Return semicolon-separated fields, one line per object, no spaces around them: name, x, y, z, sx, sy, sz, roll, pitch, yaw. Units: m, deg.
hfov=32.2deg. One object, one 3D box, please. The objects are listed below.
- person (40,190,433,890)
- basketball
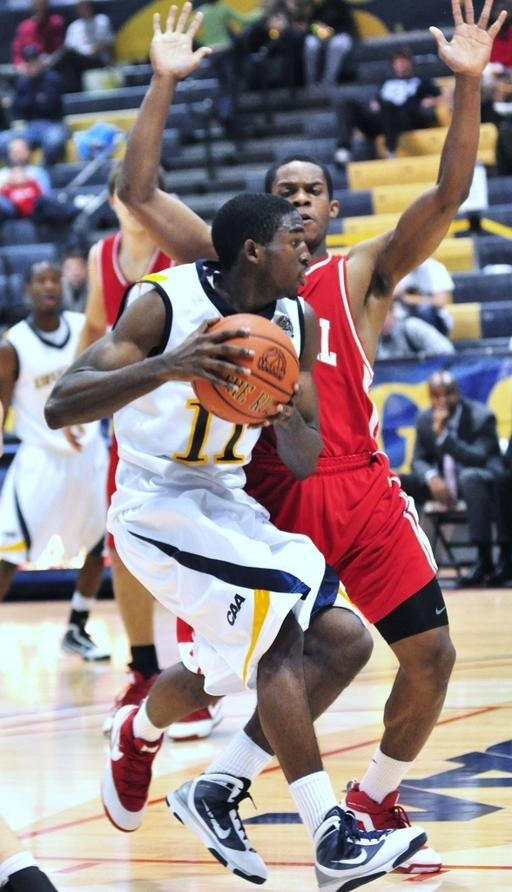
person;-0.111;0.186;1.640;0.566;1.234;0.665;1;-6;-43
basketball;0.004;-0.109;1.428;0.179;0.158;0.189;15;22;18
